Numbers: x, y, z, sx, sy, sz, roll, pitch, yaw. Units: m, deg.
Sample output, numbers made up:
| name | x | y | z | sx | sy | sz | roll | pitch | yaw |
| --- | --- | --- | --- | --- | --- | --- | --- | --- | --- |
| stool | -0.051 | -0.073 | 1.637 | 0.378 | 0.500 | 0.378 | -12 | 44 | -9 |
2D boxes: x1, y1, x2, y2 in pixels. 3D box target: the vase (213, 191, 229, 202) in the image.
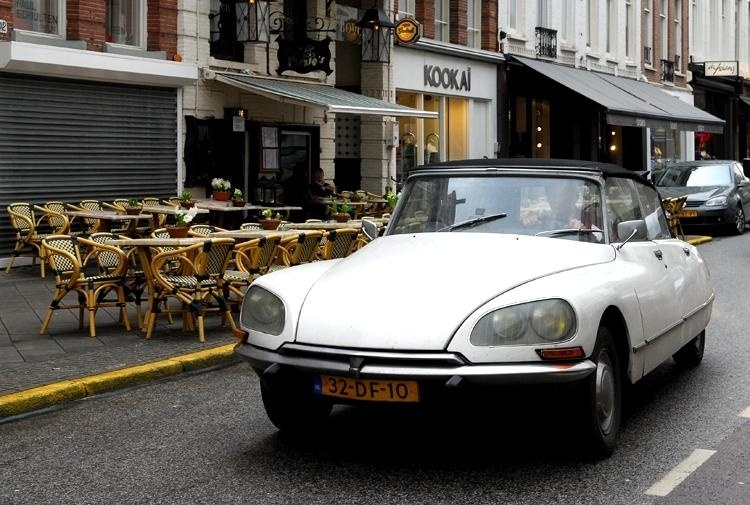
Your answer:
| name | x | y | z | sx | sy | sz | roll | pitch | yaw |
| --- | --- | --- | --- | --- | --- | --- | --- | --- | --- |
| vase | -3.975 | -1.470 | 15.516 | 0.296 | 0.153 | 0.316 | -1 | 0 | 14 |

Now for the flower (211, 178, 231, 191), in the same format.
| name | x | y | z | sx | sy | sz | roll | pitch | yaw |
| --- | --- | --- | --- | --- | --- | --- | --- | --- | --- |
| flower | -4.072 | -1.818 | 15.840 | 0.551 | 0.348 | 0.539 | -1 | -1 | 13 |
